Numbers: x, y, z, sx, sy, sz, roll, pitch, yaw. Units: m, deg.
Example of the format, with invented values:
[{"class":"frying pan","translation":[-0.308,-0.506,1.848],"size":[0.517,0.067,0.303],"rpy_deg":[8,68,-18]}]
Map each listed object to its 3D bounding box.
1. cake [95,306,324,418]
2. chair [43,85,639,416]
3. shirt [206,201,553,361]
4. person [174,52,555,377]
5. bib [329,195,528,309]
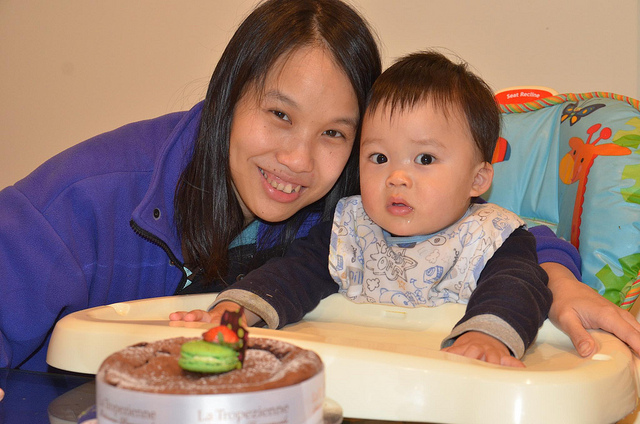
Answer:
[{"class":"cake","translation":[-0.137,0.152,0.672],"size":[0.196,0.095,0.194],"rpy_deg":[3,-3,-20]},{"class":"chair","translation":[0.047,0.077,1.174],"size":[0.754,0.380,0.718],"rpy_deg":[1,-1,32]},{"class":"shirt","translation":[0.163,0.164,1.330],"size":[0.783,0.260,0.588],"rpy_deg":[0,10,23]},{"class":"person","translation":[0.239,0.022,1.347],"size":[0.834,0.665,0.720],"rpy_deg":[4,2,31]},{"class":"bib","translation":[0.241,0.123,1.368],"size":[0.510,0.177,0.274],"rpy_deg":[4,34,27]}]
